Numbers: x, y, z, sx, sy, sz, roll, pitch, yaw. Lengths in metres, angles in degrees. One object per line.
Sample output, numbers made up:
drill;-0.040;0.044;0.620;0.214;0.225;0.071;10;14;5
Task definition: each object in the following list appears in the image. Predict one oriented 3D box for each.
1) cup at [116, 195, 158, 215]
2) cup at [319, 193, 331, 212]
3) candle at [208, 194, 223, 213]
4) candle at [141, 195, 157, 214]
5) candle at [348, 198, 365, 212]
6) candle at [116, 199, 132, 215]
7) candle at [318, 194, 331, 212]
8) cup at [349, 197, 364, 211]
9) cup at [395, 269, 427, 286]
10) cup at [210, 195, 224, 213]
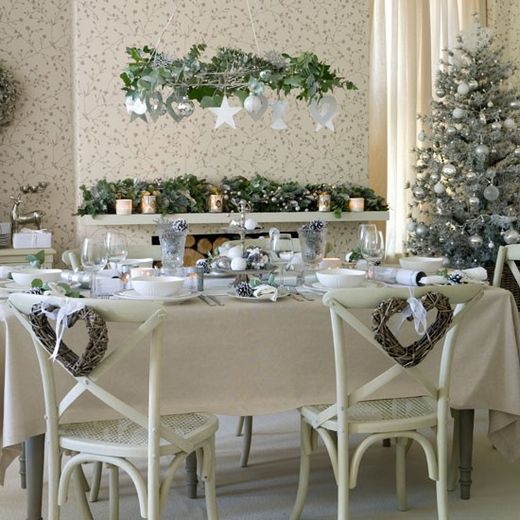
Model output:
cup;-0.799;-0.362;4.083;0.248;0.105;0.125;-1;3;-5
cup;0.464;-0.413;4.452;0.130;0.126;0.121;0;1;0
candle;-0.298;-0.383;4.246;0.128;0.124;0.118;0;4;-3
candle;-0.730;-0.367;4.111;0.124;0.120;0.117;1;2;15
candle;0.708;-0.401;4.529;0.115;0.095;0.106;1;0;-11
candle;-0.878;-0.344;4.047;0.112;0.089;0.099;1;2;-2
candle;0.465;-0.413;4.461;0.088;0.135;0.060;-1;5;3
cup;0.727;-0.405;4.548;0.134;0.104;0.069;-3;5;-26
cup;0.488;0.045;2.000;0.051;0.053;0.115;2;4;-4
cup;-0.295;-0.389;4.244;0.119;0.112;0.108;0;3;0
